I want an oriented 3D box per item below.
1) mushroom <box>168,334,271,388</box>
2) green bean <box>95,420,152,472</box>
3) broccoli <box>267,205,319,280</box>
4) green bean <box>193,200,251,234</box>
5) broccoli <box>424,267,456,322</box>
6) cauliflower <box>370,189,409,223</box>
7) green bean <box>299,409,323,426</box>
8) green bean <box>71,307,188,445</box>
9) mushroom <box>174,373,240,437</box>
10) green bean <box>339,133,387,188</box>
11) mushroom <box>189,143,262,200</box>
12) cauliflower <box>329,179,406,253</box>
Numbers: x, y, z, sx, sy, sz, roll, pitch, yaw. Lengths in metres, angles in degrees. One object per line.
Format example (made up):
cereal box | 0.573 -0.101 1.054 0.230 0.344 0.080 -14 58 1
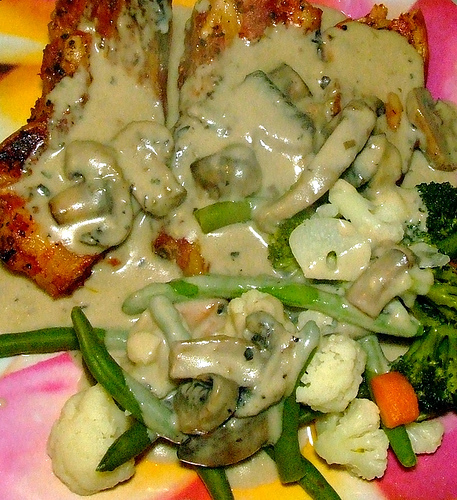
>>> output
mushroom | 0.004 0.525 2.911 0.608 0.152 0.236 0 88 34
green bean | -0.486 0.936 2.871 0.106 0.179 0.286 41 63 19
broccoli | 0.285 -0.046 3.241 0.384 0.321 0.250 -3 20 -5
green bean | -0.026 -0.178 3.194 0.290 0.066 0.136 -14 97 -11
broccoli | 1.040 0.219 3.023 0.113 0.257 0.142 -21 29 -37
cauliflower | 0.816 -0.228 3.200 0.160 0.167 0.173 -10 24 -13
green bean | 0.405 0.845 3.106 0.124 0.026 0.056 -22 84 -5
green bean | -0.518 0.623 2.888 0.829 0.146 0.186 51 54 -10
mushroom | -0.110 0.693 2.803 0.289 0.214 0.258 5 57 0
green bean | 0.706 -0.457 3.198 0.195 0.089 0.281 40 91 28
mushroom | -0.041 -0.419 3.254 0.387 0.262 0.220 -13 24 -19
cauliflower | 0.791 -0.181 3.203 0.340 0.343 0.374 -15 27 -26
